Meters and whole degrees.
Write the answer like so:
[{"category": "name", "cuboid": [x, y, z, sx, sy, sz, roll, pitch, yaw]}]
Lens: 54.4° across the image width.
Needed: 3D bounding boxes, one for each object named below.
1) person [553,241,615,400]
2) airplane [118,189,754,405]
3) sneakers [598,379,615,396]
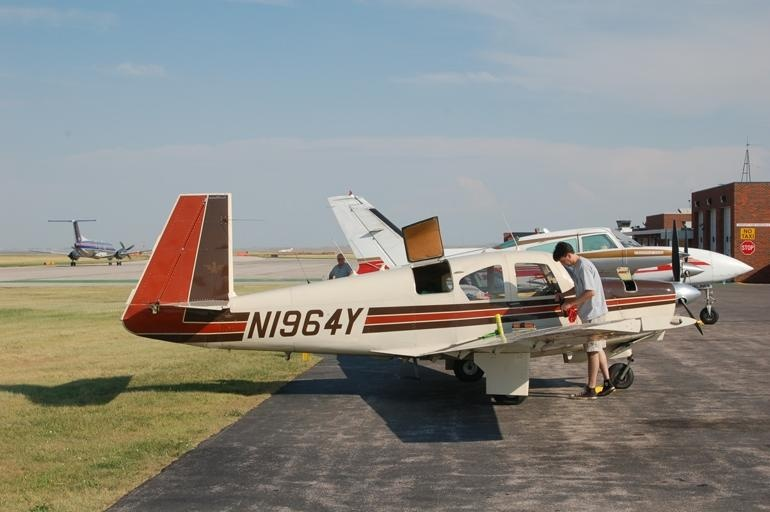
[{"category": "person", "cuboid": [3.299, 1.111, 12.139, 0.957, 2.677, 0.965, -5, 18, -7]}, {"category": "airplane", "cuboid": [0.195, 0.908, 12.136, 6.884, 1.414, 6.580, -2, 2, -9]}, {"category": "sneakers", "cuboid": [3.606, 2.188, 12.321, 0.232, 0.136, 0.448, -1, -2, 4]}]
